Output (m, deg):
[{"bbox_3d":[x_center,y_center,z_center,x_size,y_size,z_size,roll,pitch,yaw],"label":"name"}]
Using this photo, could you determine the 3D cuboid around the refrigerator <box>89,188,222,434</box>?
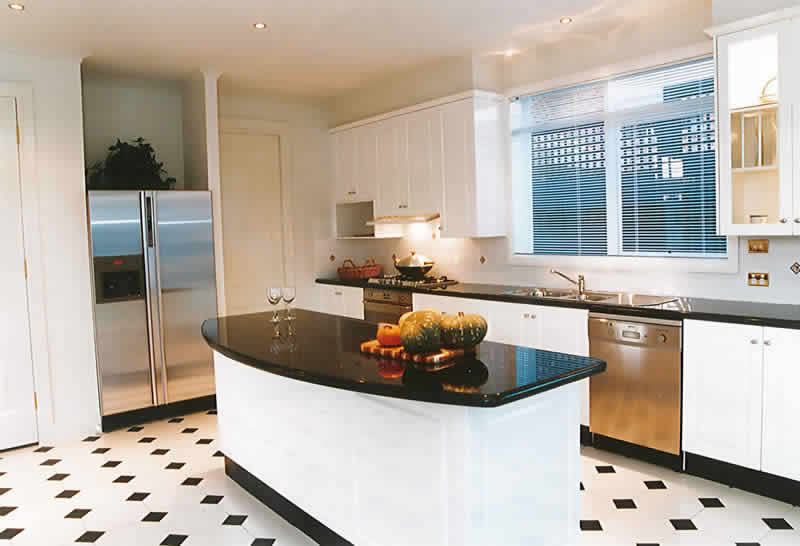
[{"bbox_3d":[-2.371,0.241,5.547,1.176,2.083,0.475,-7,15,-17],"label":"refrigerator"}]

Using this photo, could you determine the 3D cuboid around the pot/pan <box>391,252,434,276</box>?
[{"bbox_3d":[0.110,-0.099,6.471,0.303,0.159,0.341,0,-3,-11],"label":"pot/pan"}]

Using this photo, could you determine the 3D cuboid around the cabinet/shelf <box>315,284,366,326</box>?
[{"bbox_3d":[-0.722,0.342,6.978,0.744,0.337,0.401,4,3,43],"label":"cabinet/shelf"}]

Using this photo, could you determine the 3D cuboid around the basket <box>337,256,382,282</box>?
[{"bbox_3d":[-0.573,-0.038,7.311,0.331,0.201,0.443,0,-1,-39],"label":"basket"}]

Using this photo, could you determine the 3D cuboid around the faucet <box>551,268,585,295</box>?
[{"bbox_3d":[1.570,0.068,5.416,0.323,0.232,0.544,2,14,16],"label":"faucet"}]

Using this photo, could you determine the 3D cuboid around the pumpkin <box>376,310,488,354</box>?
[{"bbox_3d":[0.174,0.342,3.355,0.431,0.153,0.310,-2,2,4],"label":"pumpkin"}]
